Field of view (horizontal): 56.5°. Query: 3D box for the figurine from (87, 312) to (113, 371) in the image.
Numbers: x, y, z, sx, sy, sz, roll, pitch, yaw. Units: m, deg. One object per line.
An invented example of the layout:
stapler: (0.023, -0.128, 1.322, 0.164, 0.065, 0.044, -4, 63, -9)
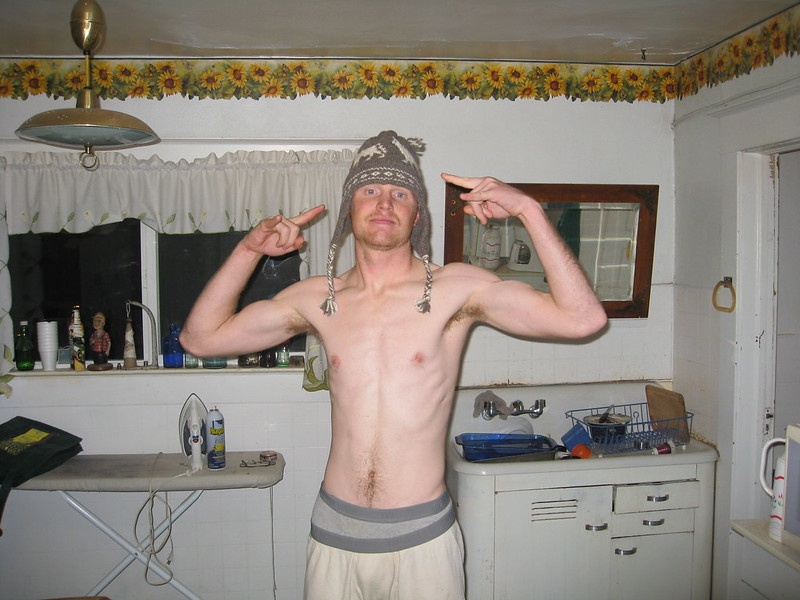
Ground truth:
figurine: (-1.701, 0.234, 4.205, 0.130, 0.319, 0.125, -1, 0, -15)

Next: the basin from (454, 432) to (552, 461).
basin: (0.551, 0.757, 4.085, 0.463, 0.086, 0.395, 1, 6, -11)

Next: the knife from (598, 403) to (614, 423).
knife: (1.150, 0.644, 4.145, 0.049, 0.023, 0.164, 16, 51, 36)

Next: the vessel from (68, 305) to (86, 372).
vessel: (-1.831, 0.224, 4.205, 0.079, 0.339, 0.077, 0, -10, -34)

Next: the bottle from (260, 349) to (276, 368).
bottle: (-0.759, 0.337, 4.297, 0.093, 0.105, 0.093, -1, 0, 2)

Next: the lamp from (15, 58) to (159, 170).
lamp: (-1.433, -0.859, 3.339, 0.540, 0.413, 0.881, -1, 2, -32)

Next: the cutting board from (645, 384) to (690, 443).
cutting board: (1.499, 0.607, 4.196, 0.026, 0.248, 0.239, -30, 30, -29)

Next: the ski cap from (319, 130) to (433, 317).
ski cap: (-0.058, -0.314, 2.962, 0.465, 0.738, 0.220, 0, -5, 2)
